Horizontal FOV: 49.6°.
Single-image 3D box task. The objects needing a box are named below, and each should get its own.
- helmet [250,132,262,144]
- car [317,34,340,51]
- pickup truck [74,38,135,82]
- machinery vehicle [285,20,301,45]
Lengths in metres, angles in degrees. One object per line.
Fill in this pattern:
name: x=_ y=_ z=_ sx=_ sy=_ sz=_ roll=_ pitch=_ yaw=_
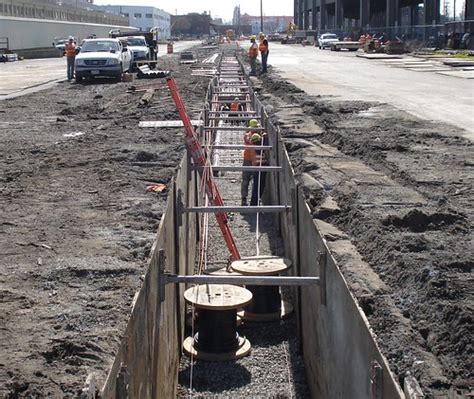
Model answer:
helmet: x=0.432 y=-1.425 z=11.833 sx=0.212 sy=0.265 sz=0.242 roll=-2 pitch=9 yaw=-14
car: x=10.379 y=-17.943 z=57.715 sx=2.027 sy=1.775 sz=4.363 roll=-3 pitch=17 yaw=1
pickup truck: x=-6.570 y=-6.753 z=24.634 sx=2.489 sy=2.093 sz=2.561 roll=-5 pitch=14 yaw=-14
machinery vehicle: x=8.525 y=-25.946 z=79.284 sx=2.228 sy=2.823 sz=7.267 roll=-3 pitch=25 yaw=7
